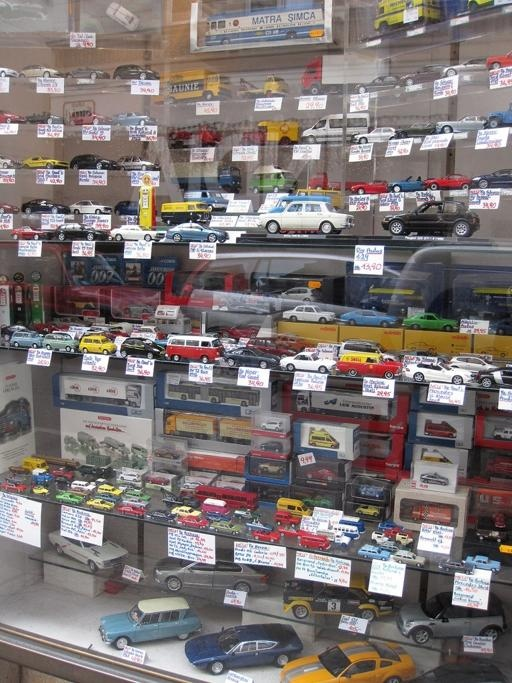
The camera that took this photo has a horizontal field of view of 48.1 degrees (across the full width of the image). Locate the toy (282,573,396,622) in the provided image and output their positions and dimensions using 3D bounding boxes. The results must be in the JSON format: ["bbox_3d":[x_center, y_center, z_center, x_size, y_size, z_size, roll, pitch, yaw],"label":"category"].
[{"bbox_3d":[0.365,1.097,2.526,0.433,0.150,0.223,2,1,6],"label":"toy"}]

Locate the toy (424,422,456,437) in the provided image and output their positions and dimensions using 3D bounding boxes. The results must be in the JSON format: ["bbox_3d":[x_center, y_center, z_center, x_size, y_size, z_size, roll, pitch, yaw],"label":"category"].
[{"bbox_3d":[0.767,0.371,2.414,0.101,0.050,0.067,0,8,15],"label":"toy"}]

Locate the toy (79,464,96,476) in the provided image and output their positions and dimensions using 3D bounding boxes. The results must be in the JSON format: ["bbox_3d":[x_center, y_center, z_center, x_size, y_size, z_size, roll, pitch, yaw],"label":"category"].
[{"bbox_3d":[-0.870,0.668,2.960,0.079,0.020,0.095,-4,9,-12],"label":"toy"}]

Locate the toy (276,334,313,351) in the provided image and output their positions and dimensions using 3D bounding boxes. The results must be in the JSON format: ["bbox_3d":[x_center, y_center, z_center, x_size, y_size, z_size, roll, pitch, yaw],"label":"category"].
[{"bbox_3d":[0.154,-0.005,2.381,0.136,0.042,0.064,6,30,13],"label":"toy"}]

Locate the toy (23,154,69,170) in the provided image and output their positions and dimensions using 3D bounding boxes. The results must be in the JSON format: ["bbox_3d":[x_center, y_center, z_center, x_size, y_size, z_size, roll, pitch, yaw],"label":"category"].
[{"bbox_3d":[-1.036,-0.855,2.768,0.149,0.043,0.091,2,16,13],"label":"toy"}]

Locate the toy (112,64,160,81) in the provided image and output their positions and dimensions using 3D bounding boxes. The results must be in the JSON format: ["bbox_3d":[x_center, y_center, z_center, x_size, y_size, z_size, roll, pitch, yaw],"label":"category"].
[{"bbox_3d":[-0.547,-1.219,2.630,0.210,0.065,0.089,3,33,8],"label":"toy"}]

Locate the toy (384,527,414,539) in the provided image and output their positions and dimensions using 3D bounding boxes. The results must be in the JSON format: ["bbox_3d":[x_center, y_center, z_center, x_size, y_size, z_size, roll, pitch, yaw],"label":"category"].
[{"bbox_3d":[0.546,0.740,2.234,0.073,0.022,0.041,1,7,16],"label":"toy"}]

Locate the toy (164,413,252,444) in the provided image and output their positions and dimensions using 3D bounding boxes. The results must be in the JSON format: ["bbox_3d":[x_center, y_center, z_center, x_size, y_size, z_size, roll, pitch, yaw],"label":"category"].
[{"bbox_3d":[-0.306,0.404,2.937,0.568,0.139,0.143,4,14,15],"label":"toy"}]

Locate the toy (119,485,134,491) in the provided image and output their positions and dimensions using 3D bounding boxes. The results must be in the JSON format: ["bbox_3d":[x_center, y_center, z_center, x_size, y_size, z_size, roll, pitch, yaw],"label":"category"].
[{"bbox_3d":[-0.639,0.711,2.791,0.042,0.019,0.025,2,16,5],"label":"toy"}]

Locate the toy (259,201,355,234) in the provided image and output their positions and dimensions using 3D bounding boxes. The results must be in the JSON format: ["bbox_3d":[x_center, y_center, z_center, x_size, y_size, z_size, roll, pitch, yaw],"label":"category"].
[{"bbox_3d":[0.184,-0.475,2.223,0.316,0.106,0.134,5,16,11],"label":"toy"}]

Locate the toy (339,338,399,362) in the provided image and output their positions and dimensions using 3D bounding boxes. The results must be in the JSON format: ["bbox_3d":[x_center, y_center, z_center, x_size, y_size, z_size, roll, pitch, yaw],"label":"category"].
[{"bbox_3d":[0.427,0.022,2.214,0.185,0.077,0.090,3,16,15],"label":"toy"}]

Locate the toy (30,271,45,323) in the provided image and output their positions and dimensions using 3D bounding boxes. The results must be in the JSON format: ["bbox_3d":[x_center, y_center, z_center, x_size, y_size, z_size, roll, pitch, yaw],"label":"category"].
[{"bbox_3d":[-1.133,-0.232,2.960,0.072,0.252,0.076,-3,9,-2],"label":"toy"}]

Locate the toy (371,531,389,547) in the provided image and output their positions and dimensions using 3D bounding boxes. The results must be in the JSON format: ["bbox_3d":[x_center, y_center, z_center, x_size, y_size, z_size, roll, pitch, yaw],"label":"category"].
[{"bbox_3d":[0.476,0.761,2.219,0.052,0.025,0.030,0,36,15],"label":"toy"}]

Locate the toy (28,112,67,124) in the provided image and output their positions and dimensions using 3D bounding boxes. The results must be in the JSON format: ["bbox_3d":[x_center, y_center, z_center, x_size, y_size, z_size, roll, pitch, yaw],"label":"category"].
[{"bbox_3d":[-0.992,-1.041,2.682,0.131,0.039,0.073,7,32,0],"label":"toy"}]

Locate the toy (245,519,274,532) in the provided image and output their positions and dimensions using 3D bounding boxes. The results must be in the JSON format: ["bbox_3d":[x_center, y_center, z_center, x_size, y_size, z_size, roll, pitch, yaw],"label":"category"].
[{"bbox_3d":[0.013,0.776,2.424,0.091,0.030,0.039,2,8,17],"label":"toy"}]

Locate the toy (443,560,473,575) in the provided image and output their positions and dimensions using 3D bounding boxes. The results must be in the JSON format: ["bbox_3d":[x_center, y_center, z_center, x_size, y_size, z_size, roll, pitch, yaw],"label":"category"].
[{"bbox_3d":[0.716,0.805,2.051,0.070,0.021,0.039,0,7,21],"label":"toy"}]

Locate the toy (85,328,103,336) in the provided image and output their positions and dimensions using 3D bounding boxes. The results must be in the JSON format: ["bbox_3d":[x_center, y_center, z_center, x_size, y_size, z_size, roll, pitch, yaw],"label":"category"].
[{"bbox_3d":[-0.759,-0.048,2.685,0.087,0.024,0.084,-4,9,-9],"label":"toy"}]

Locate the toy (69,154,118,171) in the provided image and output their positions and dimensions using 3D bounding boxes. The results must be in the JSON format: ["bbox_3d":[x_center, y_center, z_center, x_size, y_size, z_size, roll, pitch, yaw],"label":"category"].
[{"bbox_3d":[-0.773,-0.847,2.721,0.230,0.072,0.093,2,17,10],"label":"toy"}]

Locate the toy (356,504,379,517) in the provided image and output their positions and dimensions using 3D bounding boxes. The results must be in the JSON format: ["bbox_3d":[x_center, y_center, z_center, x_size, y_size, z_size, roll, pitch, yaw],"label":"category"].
[{"bbox_3d":[0.469,0.708,2.400,0.074,0.022,0.043,2,19,13],"label":"toy"}]

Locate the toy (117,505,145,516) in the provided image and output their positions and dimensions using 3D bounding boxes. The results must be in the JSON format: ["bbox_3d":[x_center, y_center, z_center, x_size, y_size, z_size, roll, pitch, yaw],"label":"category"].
[{"bbox_3d":[-0.569,0.755,2.588,0.089,0.026,0.052,1,12,10],"label":"toy"}]

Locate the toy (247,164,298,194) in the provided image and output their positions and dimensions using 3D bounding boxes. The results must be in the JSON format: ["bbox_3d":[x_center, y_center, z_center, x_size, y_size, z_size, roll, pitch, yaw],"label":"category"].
[{"bbox_3d":[0.072,-0.682,2.396,0.193,0.113,0.098,5,38,11],"label":"toy"}]

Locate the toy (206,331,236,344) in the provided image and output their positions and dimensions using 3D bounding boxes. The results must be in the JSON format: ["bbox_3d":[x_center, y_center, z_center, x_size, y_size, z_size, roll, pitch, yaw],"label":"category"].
[{"bbox_3d":[-0.155,-0.017,2.541,0.095,0.023,0.056,6,11,15],"label":"toy"}]

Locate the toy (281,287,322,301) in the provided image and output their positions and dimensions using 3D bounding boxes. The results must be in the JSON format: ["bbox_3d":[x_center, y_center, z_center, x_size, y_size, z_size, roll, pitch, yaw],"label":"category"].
[{"bbox_3d":[0.190,-0.214,2.439,0.119,0.047,0.067,10,15,19],"label":"toy"}]

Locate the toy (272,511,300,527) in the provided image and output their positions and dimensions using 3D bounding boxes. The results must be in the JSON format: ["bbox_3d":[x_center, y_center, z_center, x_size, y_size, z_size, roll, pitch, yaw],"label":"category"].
[{"bbox_3d":[0.132,0.752,2.433,0.088,0.041,0.044,2,15,15],"label":"toy"}]

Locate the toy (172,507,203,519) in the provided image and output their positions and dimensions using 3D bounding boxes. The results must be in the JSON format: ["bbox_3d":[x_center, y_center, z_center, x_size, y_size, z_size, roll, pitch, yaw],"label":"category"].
[{"bbox_3d":[-0.308,0.760,2.566,0.087,0.024,0.049,2,11,17],"label":"toy"}]

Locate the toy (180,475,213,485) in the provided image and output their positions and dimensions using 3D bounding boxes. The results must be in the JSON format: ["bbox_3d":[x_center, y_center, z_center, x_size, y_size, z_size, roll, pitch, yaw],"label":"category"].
[{"bbox_3d":[-0.295,0.679,2.806,0.084,0.020,0.080,1,8,8],"label":"toy"}]

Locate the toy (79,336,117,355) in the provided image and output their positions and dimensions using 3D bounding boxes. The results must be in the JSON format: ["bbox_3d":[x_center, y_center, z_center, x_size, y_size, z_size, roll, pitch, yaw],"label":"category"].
[{"bbox_3d":[-0.719,0.013,2.616,0.154,0.063,0.081,2,9,11],"label":"toy"}]

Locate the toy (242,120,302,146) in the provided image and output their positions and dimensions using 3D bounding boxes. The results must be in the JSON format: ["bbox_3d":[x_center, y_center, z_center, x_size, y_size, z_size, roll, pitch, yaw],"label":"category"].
[{"bbox_3d":[0.070,-0.879,2.418,0.239,0.106,0.090,3,19,10],"label":"toy"}]

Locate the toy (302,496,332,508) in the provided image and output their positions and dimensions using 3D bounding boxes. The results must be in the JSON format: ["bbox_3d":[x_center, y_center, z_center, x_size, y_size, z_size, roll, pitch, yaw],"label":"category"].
[{"bbox_3d":[0.269,0.704,2.515,0.092,0.026,0.056,2,13,7],"label":"toy"}]

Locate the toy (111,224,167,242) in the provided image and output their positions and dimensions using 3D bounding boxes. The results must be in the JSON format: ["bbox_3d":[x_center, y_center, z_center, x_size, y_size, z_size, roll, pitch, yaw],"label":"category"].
[{"bbox_3d":[-0.511,-0.471,2.517,0.231,0.062,0.095,3,19,14],"label":"toy"}]

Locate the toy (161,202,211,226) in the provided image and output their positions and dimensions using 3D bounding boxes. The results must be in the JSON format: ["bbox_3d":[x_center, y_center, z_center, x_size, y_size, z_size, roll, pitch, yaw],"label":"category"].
[{"bbox_3d":[-0.304,-0.544,2.435,0.198,0.083,0.100,4,15,18],"label":"toy"}]

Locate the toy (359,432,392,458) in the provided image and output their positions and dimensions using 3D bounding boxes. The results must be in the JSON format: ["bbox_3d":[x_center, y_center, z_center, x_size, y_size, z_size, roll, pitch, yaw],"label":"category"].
[{"bbox_3d":[0.553,0.454,2.647,0.195,0.096,0.125,9,6,14],"label":"toy"}]

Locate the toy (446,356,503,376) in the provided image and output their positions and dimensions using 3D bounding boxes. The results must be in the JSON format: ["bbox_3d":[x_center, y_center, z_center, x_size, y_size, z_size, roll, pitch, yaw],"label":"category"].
[{"bbox_3d":[0.801,0.083,2.105,0.172,0.054,0.073,1,17,10],"label":"toy"}]

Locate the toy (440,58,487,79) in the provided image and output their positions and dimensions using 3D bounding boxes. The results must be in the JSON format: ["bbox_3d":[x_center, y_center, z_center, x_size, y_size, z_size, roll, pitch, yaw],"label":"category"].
[{"bbox_3d":[0.742,-0.969,2.023,0.119,0.034,0.050,3,29,16],"label":"toy"}]

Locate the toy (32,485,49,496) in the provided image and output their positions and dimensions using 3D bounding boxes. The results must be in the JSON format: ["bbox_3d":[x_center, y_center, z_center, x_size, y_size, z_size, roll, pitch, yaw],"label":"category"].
[{"bbox_3d":[-1.034,0.715,2.749,0.064,0.027,0.037,4,11,17],"label":"toy"}]

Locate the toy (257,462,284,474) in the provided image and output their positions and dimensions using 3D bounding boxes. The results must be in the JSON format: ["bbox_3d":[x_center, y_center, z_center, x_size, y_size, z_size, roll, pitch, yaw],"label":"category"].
[{"bbox_3d":[0.070,0.584,2.647,0.088,0.039,0.049,8,4,13],"label":"toy"}]

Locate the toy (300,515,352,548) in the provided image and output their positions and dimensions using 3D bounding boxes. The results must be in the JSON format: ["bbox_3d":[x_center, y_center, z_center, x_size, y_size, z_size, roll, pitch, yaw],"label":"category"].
[{"bbox_3d":[0.276,0.765,2.334,0.120,0.041,0.092,1,33,16],"label":"toy"}]

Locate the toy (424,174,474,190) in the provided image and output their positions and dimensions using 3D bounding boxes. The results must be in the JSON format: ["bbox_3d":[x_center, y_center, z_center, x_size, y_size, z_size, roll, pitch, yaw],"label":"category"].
[{"bbox_3d":[0.705,-0.586,2.085,0.145,0.045,0.064,4,19,8],"label":"toy"}]

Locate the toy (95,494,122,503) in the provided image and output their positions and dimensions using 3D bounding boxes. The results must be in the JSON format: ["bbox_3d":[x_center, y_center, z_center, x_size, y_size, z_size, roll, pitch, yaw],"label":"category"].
[{"bbox_3d":[-0.699,0.729,2.681,0.071,0.020,0.041,3,7,15],"label":"toy"}]

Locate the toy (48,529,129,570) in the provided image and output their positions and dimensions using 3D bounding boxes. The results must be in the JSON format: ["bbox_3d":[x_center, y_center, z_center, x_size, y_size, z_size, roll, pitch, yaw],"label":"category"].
[{"bbox_3d":[-0.876,1.064,2.994,0.420,0.125,0.182,11,19,26],"label":"toy"}]

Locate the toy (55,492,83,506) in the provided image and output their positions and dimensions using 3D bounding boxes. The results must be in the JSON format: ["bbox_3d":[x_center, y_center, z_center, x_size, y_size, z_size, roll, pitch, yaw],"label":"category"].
[{"bbox_3d":[-0.875,0.737,2.693,0.102,0.031,0.056,1,19,6],"label":"toy"}]
